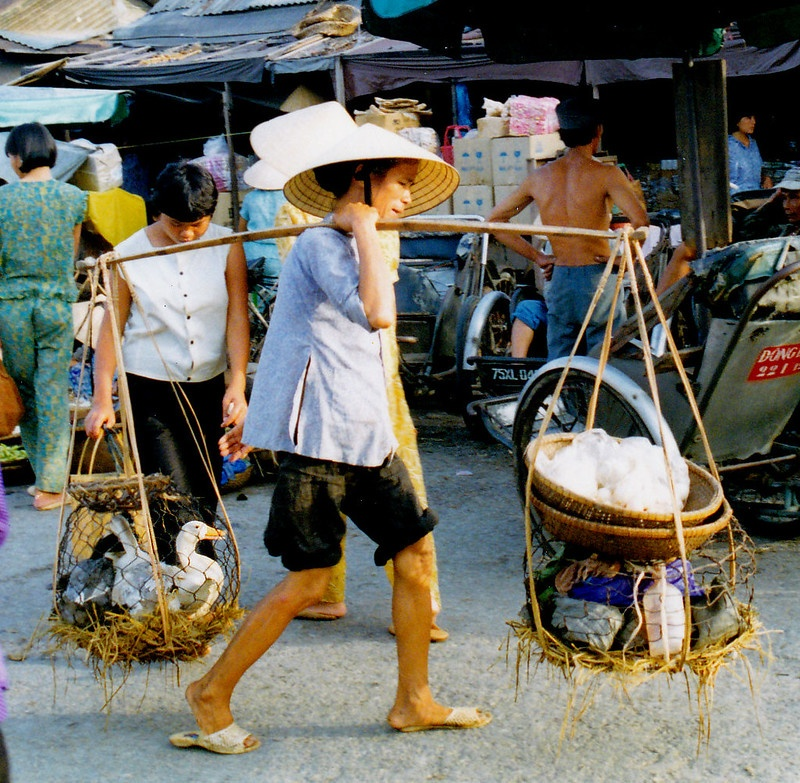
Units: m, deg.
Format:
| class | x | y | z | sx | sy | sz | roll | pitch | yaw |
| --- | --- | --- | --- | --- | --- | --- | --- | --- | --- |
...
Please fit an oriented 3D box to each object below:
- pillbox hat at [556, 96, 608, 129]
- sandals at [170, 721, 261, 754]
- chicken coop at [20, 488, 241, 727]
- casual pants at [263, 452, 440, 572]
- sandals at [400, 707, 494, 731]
| class | x | y | z | sx | sy | sz | roll | pitch | yaw |
| --- | --- | --- | --- | --- | --- | --- | --- | --- | --- |
| pillbox hat | 0.857 | -1.307 | 7.100 | 0.215 | 0.150 | 0.166 | -1 | 14 | 2 |
| sandals | -0.628 | 1.200 | 5.256 | 0.315 | 0.071 | 0.112 | 0 | 6 | 9 |
| chicken coop | -0.854 | 0.678 | 5.667 | 0.879 | 0.648 | 0.648 | 11 | -5 | -32 |
| casual pants | -0.167 | 0.440 | 5.345 | 0.671 | 0.450 | 0.249 | 1 | -20 | -12 |
| sandals | 0.174 | 1.153 | 5.304 | 0.310 | 0.061 | 0.107 | -4 | 4 | -4 |
